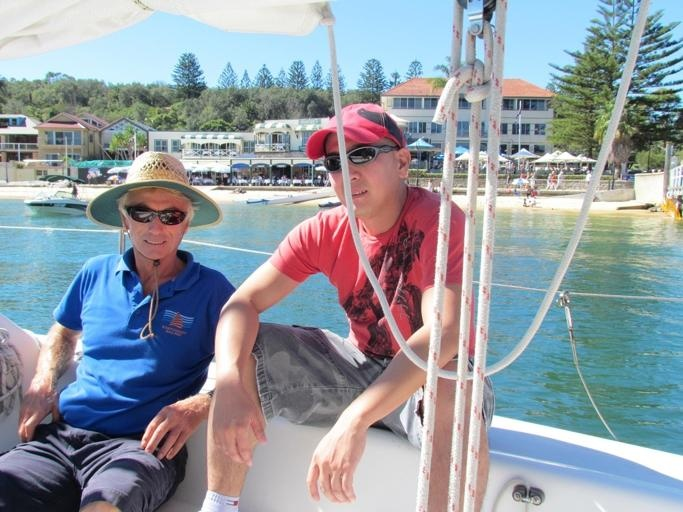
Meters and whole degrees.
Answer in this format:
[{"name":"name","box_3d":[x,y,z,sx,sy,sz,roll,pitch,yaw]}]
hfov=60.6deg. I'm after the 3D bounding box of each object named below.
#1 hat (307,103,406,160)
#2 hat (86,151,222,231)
[{"name":"hat","box_3d":[0.044,-0.495,2.353,0.332,0.227,0.443,-4,-2,13]},{"name":"hat","box_3d":[-0.847,-0.307,2.765,0.452,0.227,0.461,0,-18,-1]}]
